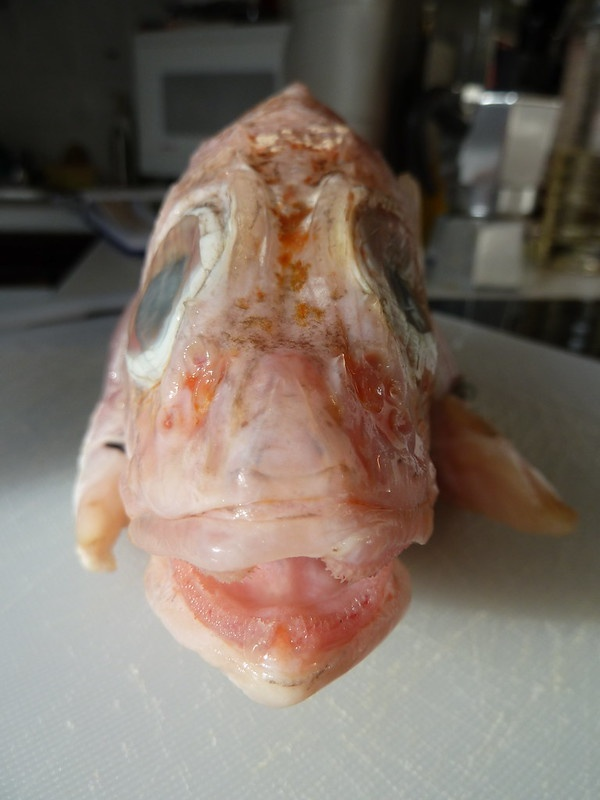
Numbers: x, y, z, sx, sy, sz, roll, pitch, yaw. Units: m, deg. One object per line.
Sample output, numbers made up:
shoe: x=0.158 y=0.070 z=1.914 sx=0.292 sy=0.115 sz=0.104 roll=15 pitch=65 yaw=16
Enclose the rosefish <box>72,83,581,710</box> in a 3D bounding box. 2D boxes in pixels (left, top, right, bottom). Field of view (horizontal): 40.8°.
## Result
rosefish: x=0.012 y=0.014 z=0.726 sx=0.438 sy=0.209 sz=0.490 roll=2 pitch=65 yaw=0
